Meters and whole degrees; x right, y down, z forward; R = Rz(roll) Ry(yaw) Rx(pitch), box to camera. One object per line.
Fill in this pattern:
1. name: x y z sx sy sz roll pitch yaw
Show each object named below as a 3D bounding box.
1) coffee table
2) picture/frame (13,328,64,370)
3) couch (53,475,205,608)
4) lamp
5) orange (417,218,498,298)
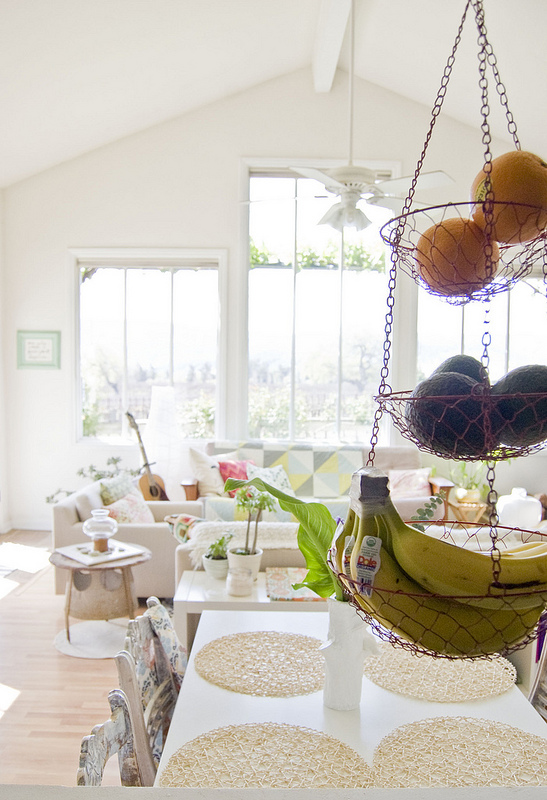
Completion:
1. coffee table: -0.806 0.911 3.233 0.390 0.314 0.363 -3 -4 4
2. picture/frame: -1.880 -0.401 5.583 0.377 0.333 0.032 0 1 0
3. couch: -0.784 0.709 3.850 0.719 0.523 0.722 -1 7 -6
4. lamp: 0.359 -0.955 3.229 0.331 0.154 0.314 2 -2 -6
5. orange: 0.165 -0.136 0.686 0.082 0.074 0.073 2 31 2
